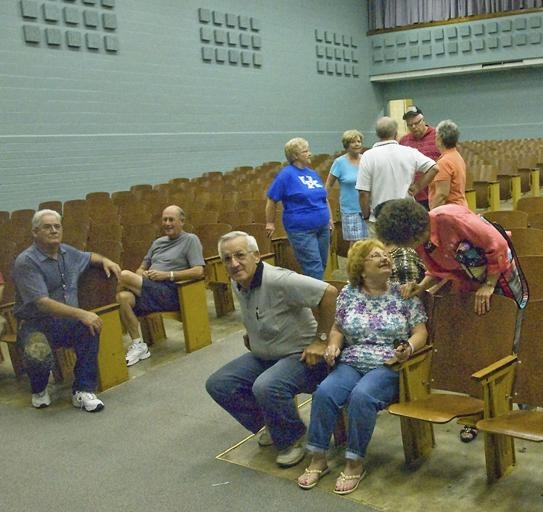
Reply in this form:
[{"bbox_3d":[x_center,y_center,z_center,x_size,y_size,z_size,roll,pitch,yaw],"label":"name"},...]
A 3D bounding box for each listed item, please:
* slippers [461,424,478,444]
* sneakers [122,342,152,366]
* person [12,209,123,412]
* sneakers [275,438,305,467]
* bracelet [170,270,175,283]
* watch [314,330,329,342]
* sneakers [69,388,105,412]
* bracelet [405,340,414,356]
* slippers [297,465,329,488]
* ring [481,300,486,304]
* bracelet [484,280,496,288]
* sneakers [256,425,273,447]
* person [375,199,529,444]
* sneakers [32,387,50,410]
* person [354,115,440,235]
[{"bbox_3d":[0.892,0.796,2.167,0.067,0.031,0.092,-2,2,42],"label":"slippers"},{"bbox_3d":[-1.015,0.718,3.589,0.109,0.145,0.213,-2,8,27],"label":"sneakers"},{"bbox_3d":[-1.324,0.385,3.103,0.656,1.020,0.825,-9,8,-15],"label":"person"},{"bbox_3d":[0.091,0.885,2.181,0.068,0.088,0.144,-1,-2,35],"label":"sneakers"},{"bbox_3d":[-0.762,0.163,3.708,0.026,0.058,0.046,-3,7,-23],"label":"bracelet"},{"bbox_3d":[0.225,0.359,2.186,0.058,0.030,0.050,2,3,9],"label":"watch"},{"bbox_3d":[-1.099,0.858,2.892,0.201,0.081,0.091,3,12,31],"label":"sneakers"},{"bbox_3d":[0.566,0.380,1.975,0.035,0.040,0.044,-29,18,48],"label":"bracelet"},{"bbox_3d":[0.168,0.887,1.959,0.058,0.038,0.131,-10,-1,39],"label":"slippers"},{"bbox_3d":[0.886,0.189,1.999,0.019,0.019,0.004,-3,9,20],"label":"ring"},{"bbox_3d":[0.917,0.119,2.006,0.037,0.023,0.034,1,1,6],"label":"bracelet"},{"bbox_3d":[-0.029,0.884,2.390,0.062,0.061,0.157,0,-7,3],"label":"sneakers"},{"bbox_3d":[0.823,0.283,2.122,0.560,1.100,0.474,-3,9,25],"label":"person"},{"bbox_3d":[-1.418,0.864,2.961,0.106,0.101,0.136,-10,8,-27],"label":"sneakers"},{"bbox_3d":[1.061,-0.421,3.892,0.637,1.226,0.437,1,12,28],"label":"person"}]
